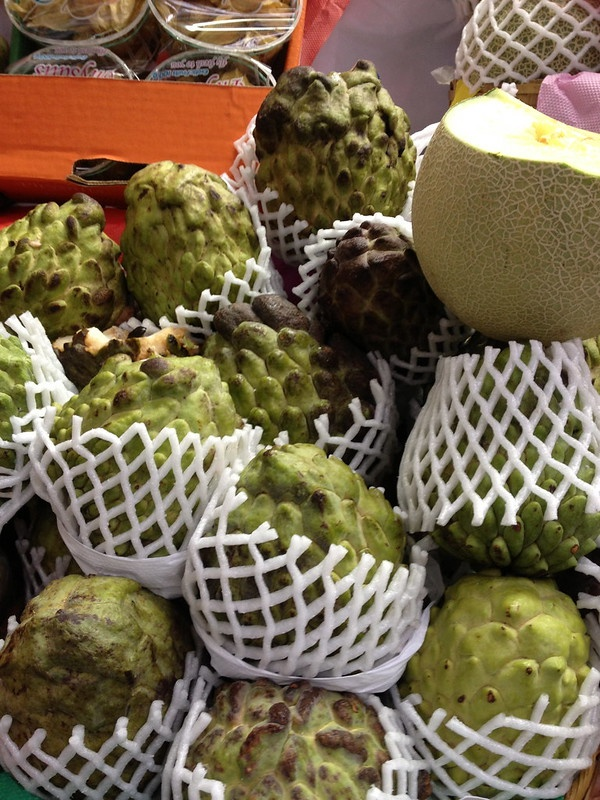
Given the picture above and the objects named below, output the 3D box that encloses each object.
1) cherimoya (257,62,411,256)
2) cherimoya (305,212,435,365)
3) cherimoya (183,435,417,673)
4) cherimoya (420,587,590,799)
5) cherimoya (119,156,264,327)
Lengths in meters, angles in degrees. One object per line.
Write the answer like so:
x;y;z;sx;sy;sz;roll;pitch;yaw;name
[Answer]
0.035;-0.275;0.954;0.193;0.197;0.208;7;-1;30;cherimoya
0.070;-0.111;0.822;0.102;0.094;0.118;4;-7;-3;cherimoya
0.009;0.128;0.618;0.195;0.134;0.171;-8;46;-21;cherimoya
0.160;0.197;0.613;0.130;0.088;0.124;6;42;-7;cherimoya
-0.129;-0.175;0.891;0.186;0.190;0.171;-3;12;-11;cherimoya
